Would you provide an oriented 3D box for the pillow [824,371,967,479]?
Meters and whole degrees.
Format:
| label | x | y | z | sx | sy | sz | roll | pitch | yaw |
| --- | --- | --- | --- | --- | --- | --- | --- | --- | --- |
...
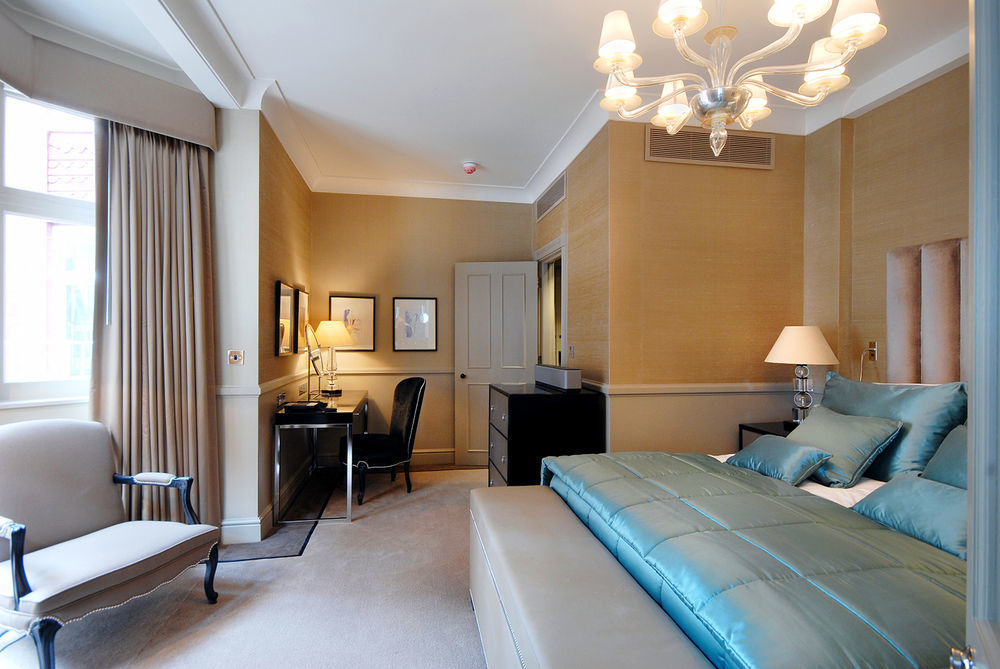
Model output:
| label | x | y | z | sx | sy | sz | roll | pitch | yaw |
| --- | --- | --- | --- | --- | --- | --- | --- | --- | --- |
| pillow | 2.540 | 0.601 | 4.079 | 0.184 | 0.599 | 0.628 | 29 | -11 | -28 |

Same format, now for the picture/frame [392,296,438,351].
| label | x | y | z | sx | sy | sz | roll | pitch | yaw |
| --- | --- | --- | --- | --- | --- | --- | --- | --- | --- |
| picture/frame | -0.868 | -0.115 | 6.701 | 0.551 | 0.660 | 0.026 | 1 | -5 | -13 |

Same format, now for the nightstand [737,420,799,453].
| label | x | y | z | sx | sy | sz | roll | pitch | yaw |
| --- | --- | --- | --- | --- | --- | --- | --- | --- | --- |
| nightstand | 2.017 | 0.722 | 5.019 | 0.275 | 0.344 | 0.357 | -1 | 2 | -15 |

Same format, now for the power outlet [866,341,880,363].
| label | x | y | z | sx | sy | sz | roll | pitch | yaw |
| --- | --- | --- | --- | --- | --- | --- | --- | --- | --- |
| power outlet | 2.700 | 0.124 | 4.828 | 0.024 | 0.144 | 0.102 | -5 | 14 | -20 |

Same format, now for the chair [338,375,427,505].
| label | x | y | z | sx | sy | sz | roll | pitch | yaw |
| --- | --- | --- | --- | --- | --- | --- | --- | --- | --- |
| chair | -0.902 | 0.890 | 5.913 | 0.920 | 1.261 | 0.909 | 2 | -2 | -19 |

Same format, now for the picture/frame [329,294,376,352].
| label | x | y | z | sx | sy | sz | roll | pitch | yaw |
| --- | --- | --- | --- | --- | --- | --- | --- | --- | --- |
| picture/frame | -1.441 | -0.121 | 6.457 | 0.572 | 0.767 | 0.029 | 0 | -3 | -14 |
